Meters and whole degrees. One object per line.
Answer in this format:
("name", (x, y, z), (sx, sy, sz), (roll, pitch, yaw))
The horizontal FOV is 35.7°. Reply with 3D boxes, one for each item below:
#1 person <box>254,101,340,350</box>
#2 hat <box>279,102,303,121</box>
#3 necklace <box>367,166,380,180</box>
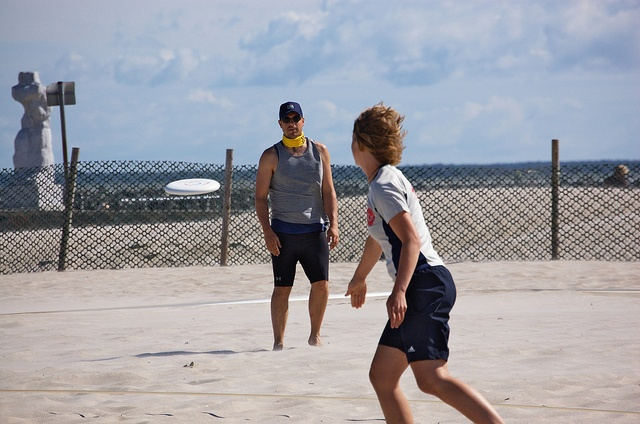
("person", (-0.306, 0.198, 13.649), (1.106, 3.317, 0.889), (-2, 14, -5))
("hat", (-0.386, -1.347, 13.342), (0.282, 0.279, 0.613), (-1, 12, -3))
("necklace", (0.632, -0.452, 11.863), (0.161, 0.151, 0.079), (14, -39, 1))
